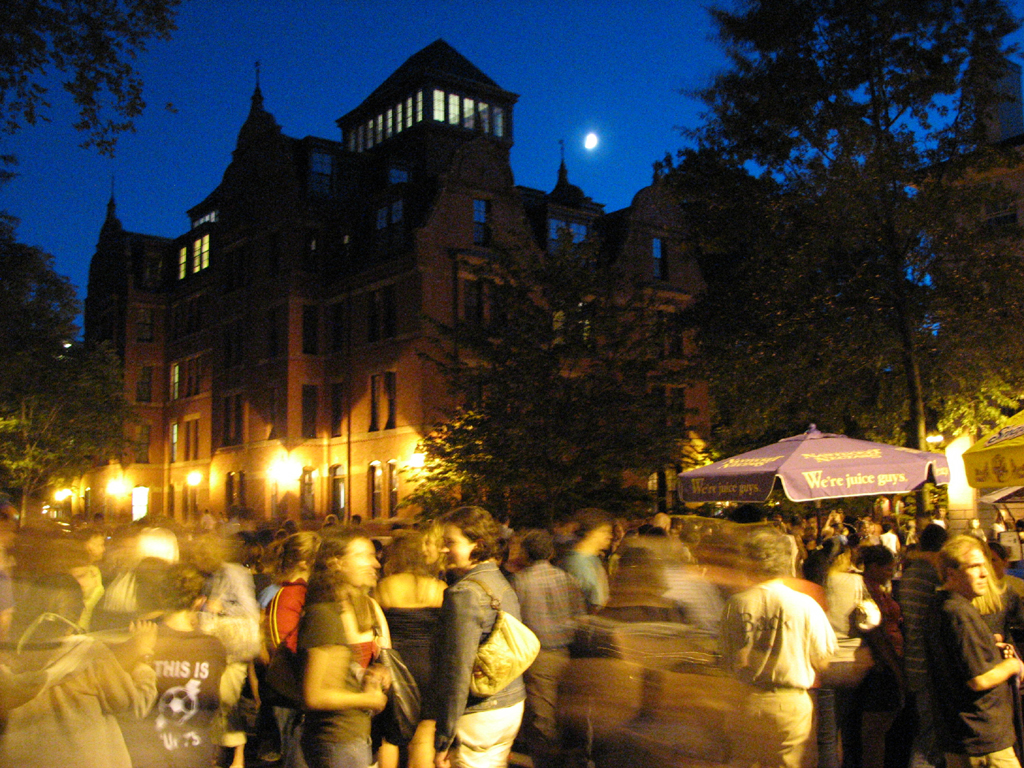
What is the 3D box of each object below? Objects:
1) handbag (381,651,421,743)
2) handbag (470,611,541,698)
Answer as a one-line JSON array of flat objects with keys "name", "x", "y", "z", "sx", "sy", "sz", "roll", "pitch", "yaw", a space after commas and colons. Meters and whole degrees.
[{"name": "handbag", "x": -0.707, "y": 2.026, "z": 6.372, "sx": 0.145, "sy": 0.514, "sz": 0.411, "roll": -11, "pitch": 2, "yaw": 10}, {"name": "handbag", "x": -0.066, "y": 1.772, "z": 6.447, "sx": 0.456, "sy": 0.564, "sz": 0.307, "roll": 1, "pitch": -14, "yaw": -17}]
